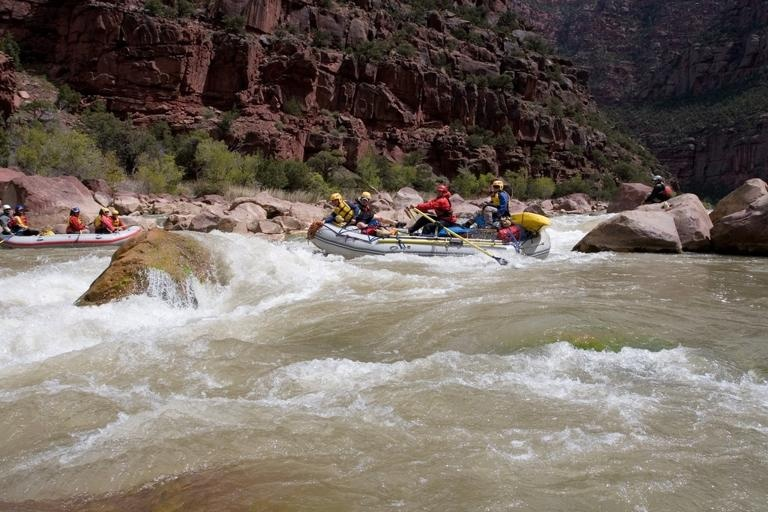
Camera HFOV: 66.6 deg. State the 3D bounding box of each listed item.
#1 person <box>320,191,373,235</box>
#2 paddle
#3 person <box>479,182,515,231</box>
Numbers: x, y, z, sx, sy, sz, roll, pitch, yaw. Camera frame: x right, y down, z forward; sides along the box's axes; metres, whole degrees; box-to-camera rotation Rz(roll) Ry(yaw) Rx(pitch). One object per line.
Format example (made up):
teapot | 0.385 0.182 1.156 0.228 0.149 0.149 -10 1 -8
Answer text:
person | -1.030 -1.273 17.609 1.101 1.312 0.558 -1 0 -11
paddle | 2.184 -0.519 16.880 2.989 0.253 0.613 26 2 15
person | 3.601 -1.633 18.373 1.336 2.169 1.088 2 11 15
